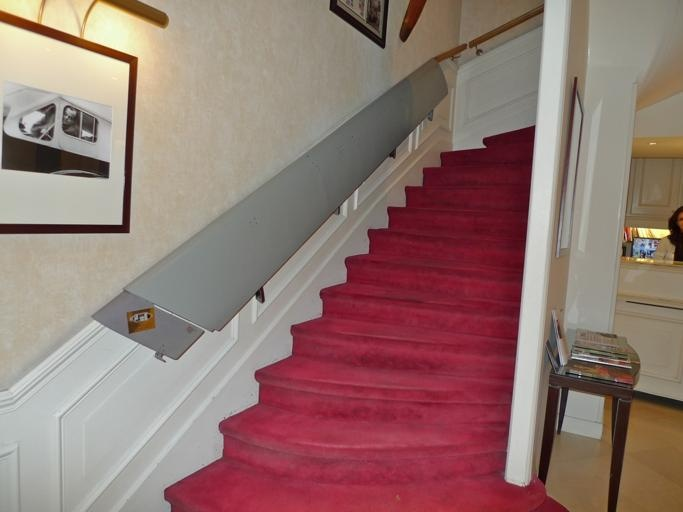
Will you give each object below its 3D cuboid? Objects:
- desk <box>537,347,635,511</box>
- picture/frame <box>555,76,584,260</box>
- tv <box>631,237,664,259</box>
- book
[{"bbox_3d":[1.444,1.036,2.824,0.311,0.526,0.837,5,10,27],"label":"desk"},{"bbox_3d":[1.428,-0.550,2.962,0.100,1.003,0.792,9,5,26],"label":"picture/frame"},{"bbox_3d":[3.570,-0.115,5.546,0.228,0.231,0.129,3,7,31],"label":"tv"},{"bbox_3d":[1.422,0.582,2.750,0.395,0.210,0.565,3,11,29],"label":"book"}]
